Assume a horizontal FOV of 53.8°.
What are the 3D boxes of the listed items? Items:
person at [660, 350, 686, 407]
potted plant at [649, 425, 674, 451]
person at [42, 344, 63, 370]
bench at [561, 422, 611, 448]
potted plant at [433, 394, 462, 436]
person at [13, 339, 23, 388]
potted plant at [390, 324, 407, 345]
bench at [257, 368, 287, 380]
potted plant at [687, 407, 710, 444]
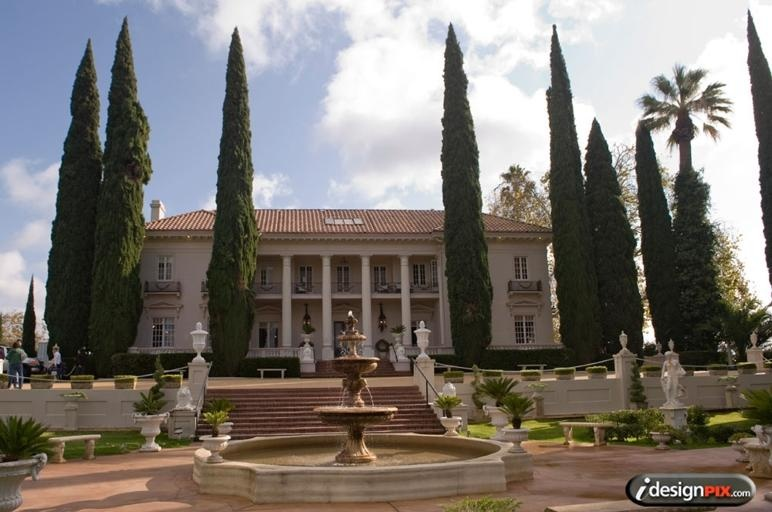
[{"bbox_3d":[10.611,4.555,28.221,0.738,1.996,1.452,-7,-13,19],"label":"person"},{"bbox_3d":[9.328,6.113,25.746,0.688,0.547,0.676,6,-8,-32],"label":"potted plant"},{"bbox_3d":[-17.679,5.355,40.246,1.176,1.461,2.611,7,-13,-23],"label":"person"},{"bbox_3d":[7.113,6.267,26.827,1.913,0.842,1.310,-3,-12,0],"label":"bench"},{"bbox_3d":[2.329,5.876,28.033,1.325,1.515,1.327,-1,-17,5],"label":"potted plant"},{"bbox_3d":[-15.614,4.540,32.085,0.494,2.079,1.425,3,-13,-26],"label":"person"},{"bbox_3d":[0.809,4.614,45.156,1.189,1.240,1.190,4,-9,-9],"label":"potted plant"},{"bbox_3d":[-5.967,6.120,39.649,1.528,0.569,2.295,-1,-12,-8],"label":"bench"},{"bbox_3d":[11.300,6.197,27.416,0.952,1.295,0.928,-1,-2,4],"label":"potted plant"}]
